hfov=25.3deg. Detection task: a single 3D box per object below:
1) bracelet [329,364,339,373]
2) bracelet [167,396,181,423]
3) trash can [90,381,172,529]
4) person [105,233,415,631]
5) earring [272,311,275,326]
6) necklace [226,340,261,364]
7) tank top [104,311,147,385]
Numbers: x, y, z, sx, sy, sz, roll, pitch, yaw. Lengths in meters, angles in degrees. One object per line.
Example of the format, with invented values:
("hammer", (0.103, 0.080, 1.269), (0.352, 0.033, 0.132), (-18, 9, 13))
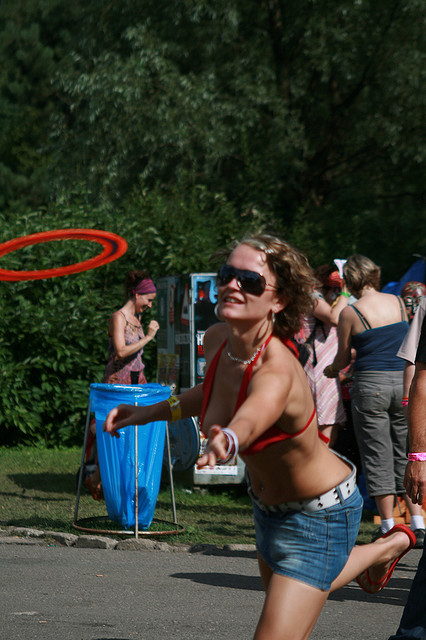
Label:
("bracelet", (0.875, 0.355, 6.956), (0.069, 0.056, 0.094), (6, 4, 9))
("bracelet", (-0.158, 0.355, 3.785), (0.055, 0.090, 0.104), (-1, -18, -11))
("trash can", (-0.602, 1.030, 7.090), (0.898, 1.180, 0.767), (1, -3, -4))
("person", (0.294, 0.416, 3.693), (1.506, 1.479, 0.928), (2, 5, -36))
("earring", (0.226, -0.008, 3.583), (0.010, 0.045, 0.026), (7, 4, 13))
("necklace", (0.124, 0.116, 3.531), (0.078, 0.073, 0.020), (11, 17, 30))
("tank top", (-0.726, 0.239, 8.118), (0.340, 0.628, 0.381), (5, 4, -7))
